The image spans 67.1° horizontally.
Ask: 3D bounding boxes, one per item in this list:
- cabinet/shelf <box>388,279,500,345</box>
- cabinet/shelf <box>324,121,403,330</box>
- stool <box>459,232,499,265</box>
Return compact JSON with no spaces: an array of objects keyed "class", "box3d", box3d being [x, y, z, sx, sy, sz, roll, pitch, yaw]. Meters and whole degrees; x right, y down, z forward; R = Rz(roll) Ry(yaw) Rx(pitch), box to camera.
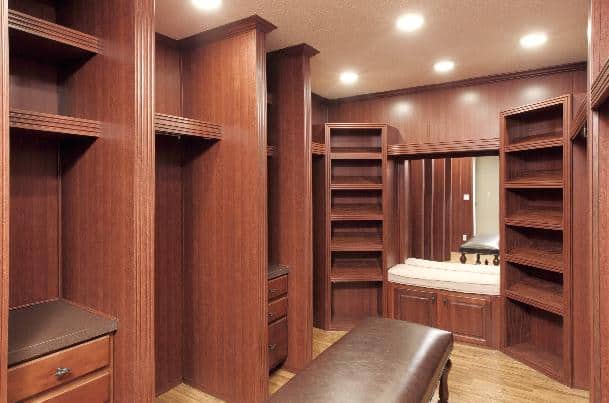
[{"class":"cabinet/shelf","box3d":[1.671,1.226,5.164,0.489,0.586,1.367,2,-3,-44]},{"class":"cabinet/shelf","box3d":[0.556,0.301,5.238,0.979,2.204,0.784,0,2,13]},{"class":"stool","box3d":[1.999,0.515,5.171,0.399,0.202,0.385,1,5,29]}]
